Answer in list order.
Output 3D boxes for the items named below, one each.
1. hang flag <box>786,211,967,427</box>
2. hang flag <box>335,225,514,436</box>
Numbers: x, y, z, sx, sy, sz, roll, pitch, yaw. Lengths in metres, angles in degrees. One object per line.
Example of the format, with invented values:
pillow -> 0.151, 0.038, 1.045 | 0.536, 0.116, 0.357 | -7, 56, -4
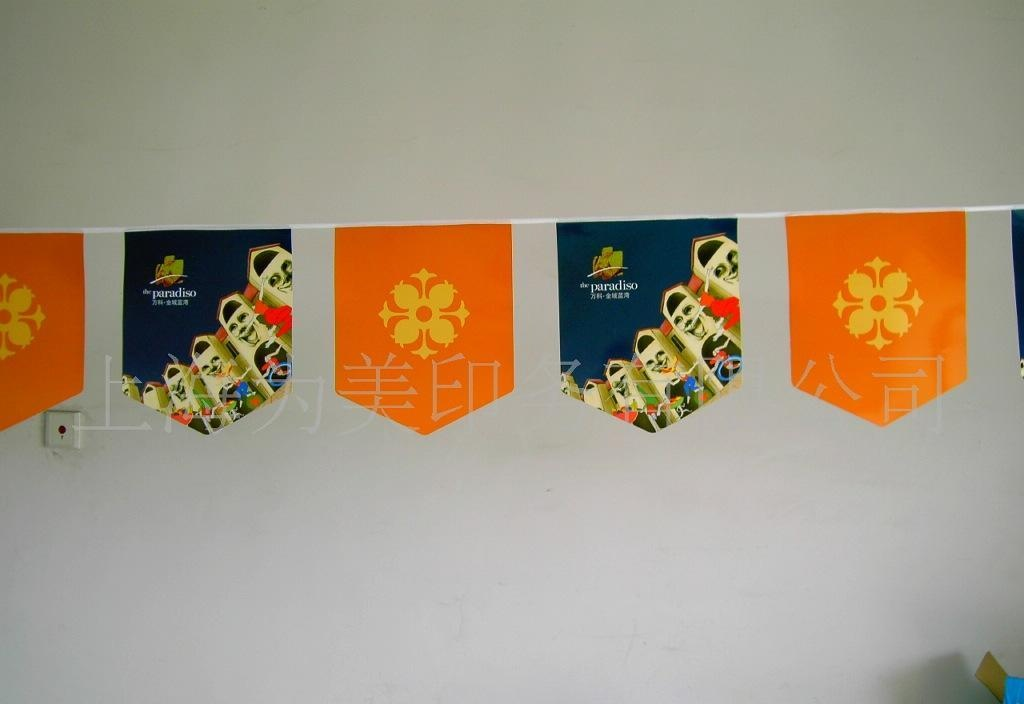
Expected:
hang flag -> 1.173, -0.132, 2.927 | 0.608, 0.665, 0.238 | -10, -19, -4
hang flag -> -0.257, -0.095, 2.934 | 0.583, 0.726, 0.031 | -2, 5, 1
